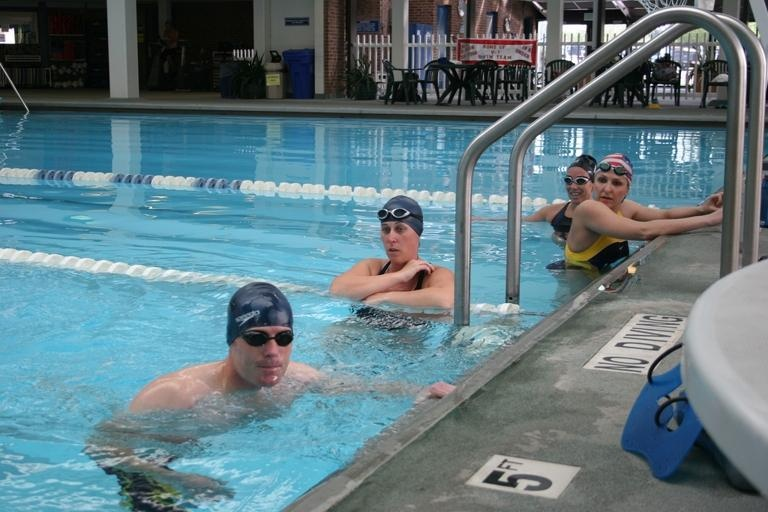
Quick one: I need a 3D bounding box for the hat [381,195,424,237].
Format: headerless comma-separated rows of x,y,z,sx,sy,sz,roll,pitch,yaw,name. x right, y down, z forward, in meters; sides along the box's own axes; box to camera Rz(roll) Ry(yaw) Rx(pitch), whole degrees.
0.120,-0.267,3.820,0.268,0.182,0.274,4,0,25,hat

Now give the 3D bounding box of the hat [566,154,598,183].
1.677,-0.740,5.020,0.272,0.172,0.284,6,0,13,hat

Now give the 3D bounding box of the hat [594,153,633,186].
1.786,-0.694,4.712,0.349,0.208,0.328,10,11,33,hat

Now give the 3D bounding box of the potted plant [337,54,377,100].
-0.695,-5.807,19.502,2.041,1.434,1.665,0,7,0,potted plant

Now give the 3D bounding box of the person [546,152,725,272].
1.893,-0.331,4.505,1.106,0.861,0.982,5,14,33,person

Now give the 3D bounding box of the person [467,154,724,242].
1.983,-0.536,5.584,1.889,0.540,0.550,-3,14,24,person

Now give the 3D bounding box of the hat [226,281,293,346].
-0.528,0.224,2.627,0.310,0.216,0.334,3,4,-24,hat

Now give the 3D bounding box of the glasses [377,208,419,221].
0.082,-0.260,3.734,0.232,0.081,0.072,-1,12,3,glasses
